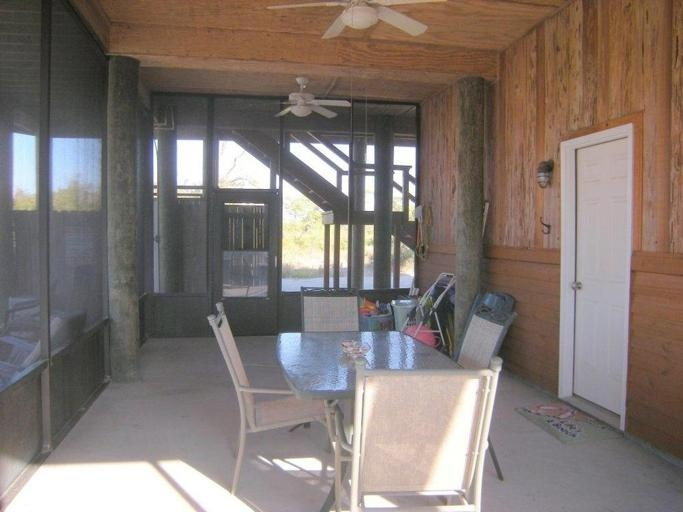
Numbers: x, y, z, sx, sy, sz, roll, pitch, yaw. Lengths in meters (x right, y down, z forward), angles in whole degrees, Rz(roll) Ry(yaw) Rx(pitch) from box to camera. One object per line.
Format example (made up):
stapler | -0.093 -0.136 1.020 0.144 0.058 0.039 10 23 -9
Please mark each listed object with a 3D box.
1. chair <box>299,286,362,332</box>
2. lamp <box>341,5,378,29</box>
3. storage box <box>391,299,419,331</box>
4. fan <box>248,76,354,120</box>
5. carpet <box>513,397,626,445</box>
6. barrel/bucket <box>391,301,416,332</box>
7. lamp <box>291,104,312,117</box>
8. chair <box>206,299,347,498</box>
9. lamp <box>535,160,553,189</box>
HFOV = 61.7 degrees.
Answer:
chair | -0.101 0.505 6.001 0.414 0.510 0.790 0 1 -5
lamp | 0.146 -1.906 4.554 0.289 0.168 0.211 1 11 2
storage box | 0.813 0.771 7.634 0.384 0.481 0.352 0 -2 -8
fan | -0.454 -1.909 7.221 0.737 0.363 0.848 -3 -1 28
carpet | 2.068 1.533 5.314 0.625 0.028 0.829 -3 12 -18
barrel/bucket | 0.820 0.797 7.592 0.377 0.469 0.342 0 -2 -9
lamp | -0.502 -1.815 7.119 0.238 0.109 0.180 2 11 8
chair | -0.508 1.114 4.629 1.000 1.396 0.915 -1 3 7
lamp | 2.113 -0.855 5.992 0.145 0.310 0.177 -2 10 -13
